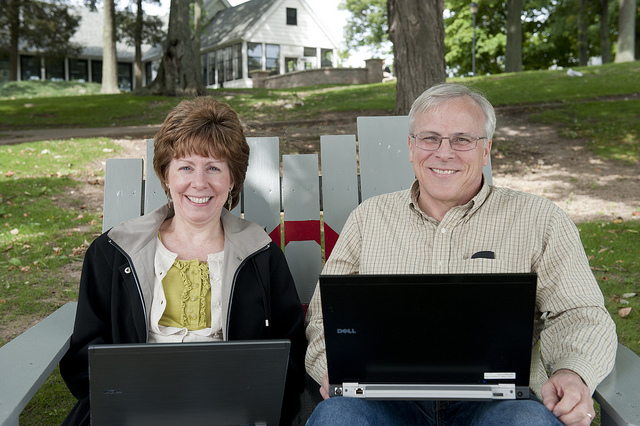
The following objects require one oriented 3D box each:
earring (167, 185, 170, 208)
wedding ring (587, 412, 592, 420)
[{"bbox_3d":[-1.018,-0.113,3.848,0.015,0.149,0.066,-7,12,-18],"label":"earring"},{"bbox_3d":[1.426,1.068,3.010,0.023,0.025,0.019,0,11,18],"label":"wedding ring"}]
